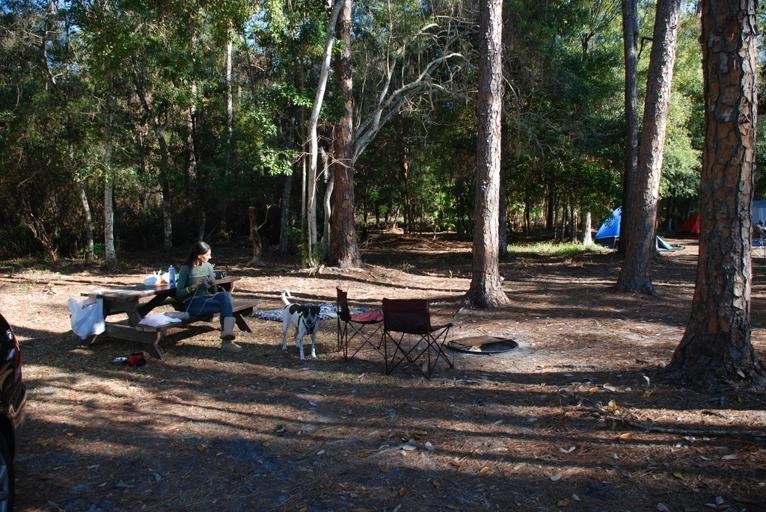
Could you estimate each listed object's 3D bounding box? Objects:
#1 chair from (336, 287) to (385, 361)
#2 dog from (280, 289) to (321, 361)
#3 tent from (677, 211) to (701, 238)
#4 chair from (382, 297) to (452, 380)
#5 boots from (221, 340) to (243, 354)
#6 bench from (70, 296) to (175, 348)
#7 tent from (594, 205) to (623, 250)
[{"bbox_3d":[-0.415,1.338,14.313,0.928,1.447,0.855,-1,7,-6],"label":"chair"},{"bbox_3d":[-1.703,1.353,14.543,0.736,1.291,1.514,0,5,-8],"label":"dog"},{"bbox_3d":[17.431,-1.792,40.498,0.908,1.327,2.477,2,4,13],"label":"tent"},{"bbox_3d":[0.700,1.526,13.946,1.457,1.546,1.393,-5,7,-19],"label":"chair"},{"bbox_3d":[-3.081,1.864,14.393,0.483,0.341,0.189,0,1,-6],"label":"boots"},{"bbox_3d":[-5.052,1.252,14.131,1.381,0.678,1.424,10,6,22],"label":"bench"},{"bbox_3d":[10.445,-1.357,33.117,0.937,1.811,7.840,2,4,16],"label":"tent"}]
